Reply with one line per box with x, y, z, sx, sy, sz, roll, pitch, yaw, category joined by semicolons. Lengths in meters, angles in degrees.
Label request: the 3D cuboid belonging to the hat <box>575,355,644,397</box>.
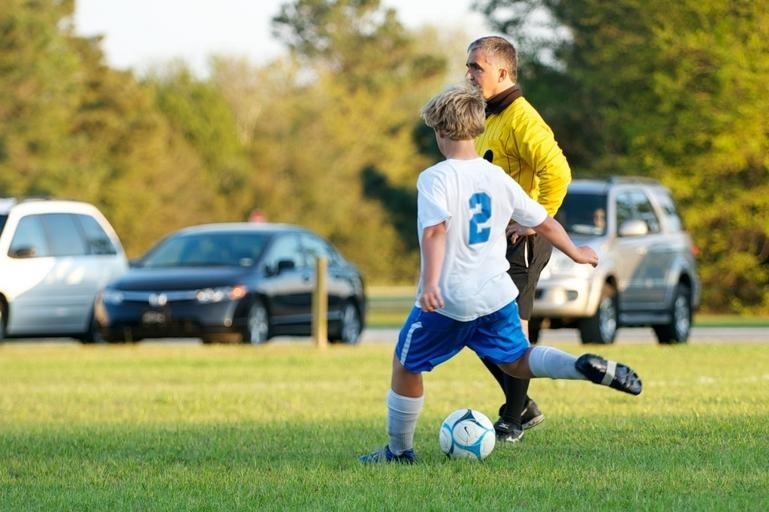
2.304;1.199;16.166;0.560;0.222;0.359;20;-3;5;hat

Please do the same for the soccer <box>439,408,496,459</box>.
0.880;1.879;16.841;0.500;0.543;0.504;0;-13;-10;soccer

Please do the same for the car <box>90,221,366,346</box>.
-2.054;0.368;21.587;1.655;1.201;2.850;-5;-10;31;car

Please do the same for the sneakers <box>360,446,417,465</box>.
0.059;2.106;16.689;0.586;0.257;0.226;4;-7;4;sneakers

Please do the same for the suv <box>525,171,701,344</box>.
3.509;0.021;23.120;2.950;1.942;1.766;5;-7;-43;suv
